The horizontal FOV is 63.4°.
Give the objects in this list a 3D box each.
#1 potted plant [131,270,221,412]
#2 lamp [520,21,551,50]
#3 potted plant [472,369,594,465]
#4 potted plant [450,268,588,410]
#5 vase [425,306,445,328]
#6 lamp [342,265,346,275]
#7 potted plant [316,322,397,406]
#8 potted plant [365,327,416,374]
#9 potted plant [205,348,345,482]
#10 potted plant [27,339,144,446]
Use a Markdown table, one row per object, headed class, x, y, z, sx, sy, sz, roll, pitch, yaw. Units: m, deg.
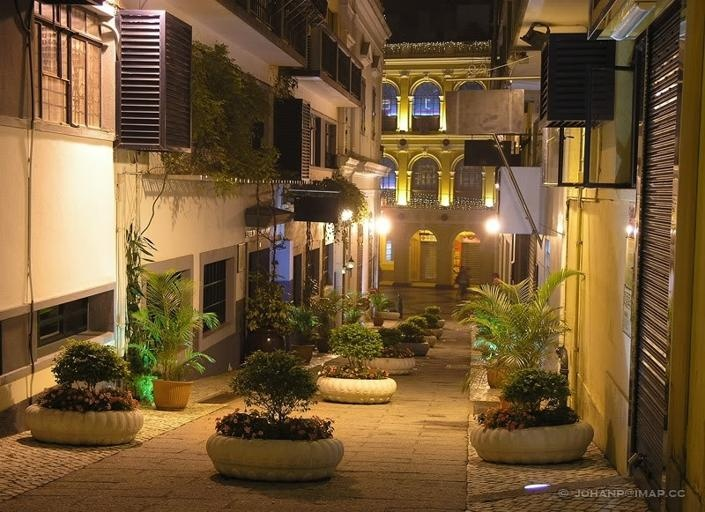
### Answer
| class | x | y | z | sx | sy | sz | roll | pitch | yaw |
| --- | --- | --- | --- | --- | --- | --- | --- | --- | --- |
| potted plant | -3.343 | 1.520 | 10.772 | 1.385 | 2.408 | 2.135 | 2 | -4 | -11 |
| lamp | 3.365 | -4.013 | 10.443 | 0.397 | 0.424 | 0.756 | 1 | -4 | 1 |
| potted plant | 2.294 | 2.169 | 7.305 | 1.188 | 0.930 | 1.236 | 1 | 0 | -5 |
| potted plant | 3.128 | 1.483 | 11.124 | 2.291 | 2.248 | 2.447 | -1 | -4 | 29 |
| vase | 3.653 | 2.779 | 25.344 | 0.932 | 0.761 | 0.947 | 0 | 2 | 12 |
| lamp | -0.370 | 0.672 | 24.556 | 0.207 | 0.348 | 0.219 | 0 | 2 | 1 |
| potted plant | 0.035 | 2.412 | 12.838 | 1.585 | 1.688 | 1.668 | 2 | -4 | -2 |
| potted plant | 1.065 | 2.834 | 16.329 | 1.270 | 1.261 | 1.260 | -1 | 1 | -38 |
| potted plant | -0.901 | 1.956 | 6.555 | 1.412 | 1.262 | 1.388 | 4 | -1 | -41 |
| potted plant | -3.471 | 1.842 | 7.475 | 1.252 | 1.238 | 1.317 | 5 | 0 | 21 |
